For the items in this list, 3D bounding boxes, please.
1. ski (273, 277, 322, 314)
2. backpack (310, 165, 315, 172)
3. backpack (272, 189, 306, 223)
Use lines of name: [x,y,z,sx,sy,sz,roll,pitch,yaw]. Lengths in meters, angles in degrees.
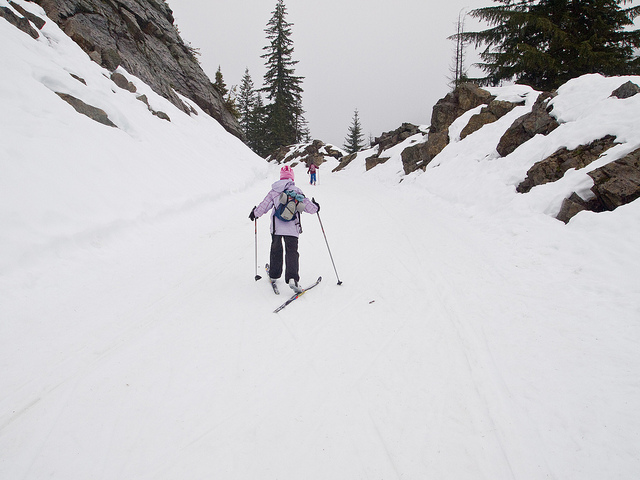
ski: [-0.438,1.156,8.686,0.131,0.183,1.467,31,47,27]
backpack: [-0.391,-3.581,20.535,0.230,0.405,0.191,-1,1,-1]
backpack: [-0.619,-0.699,8.774,0.532,0.419,0.757,21,73,4]
